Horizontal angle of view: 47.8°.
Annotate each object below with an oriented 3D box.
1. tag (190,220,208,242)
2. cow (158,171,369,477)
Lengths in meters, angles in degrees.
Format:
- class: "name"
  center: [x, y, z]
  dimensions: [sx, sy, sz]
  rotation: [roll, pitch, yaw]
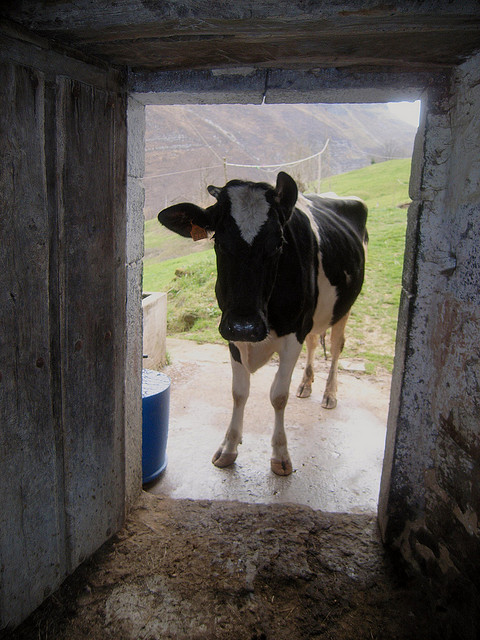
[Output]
- class: "tag"
  center: [-0.280, -0.618, 3.733]
  dimensions: [0.124, 0.144, 0.214]
  rotation: [1, 12, -5]
- class: "cow"
  center: [0.382, -0.034, 4.515]
  dimensions: [0.669, 2.225, 2.531]
  rotation: [8, 13, 25]
